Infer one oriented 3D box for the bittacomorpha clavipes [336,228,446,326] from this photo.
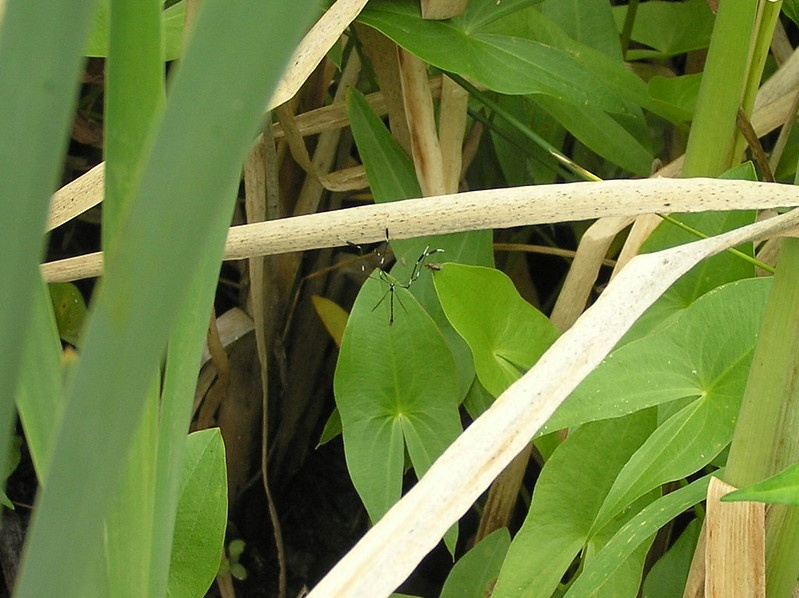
[{"bbox_3d":[-0.010,-0.021,0.855,0.071,0.098,0.024,8,1,16],"label":"bittacomorpha clavipes"}]
